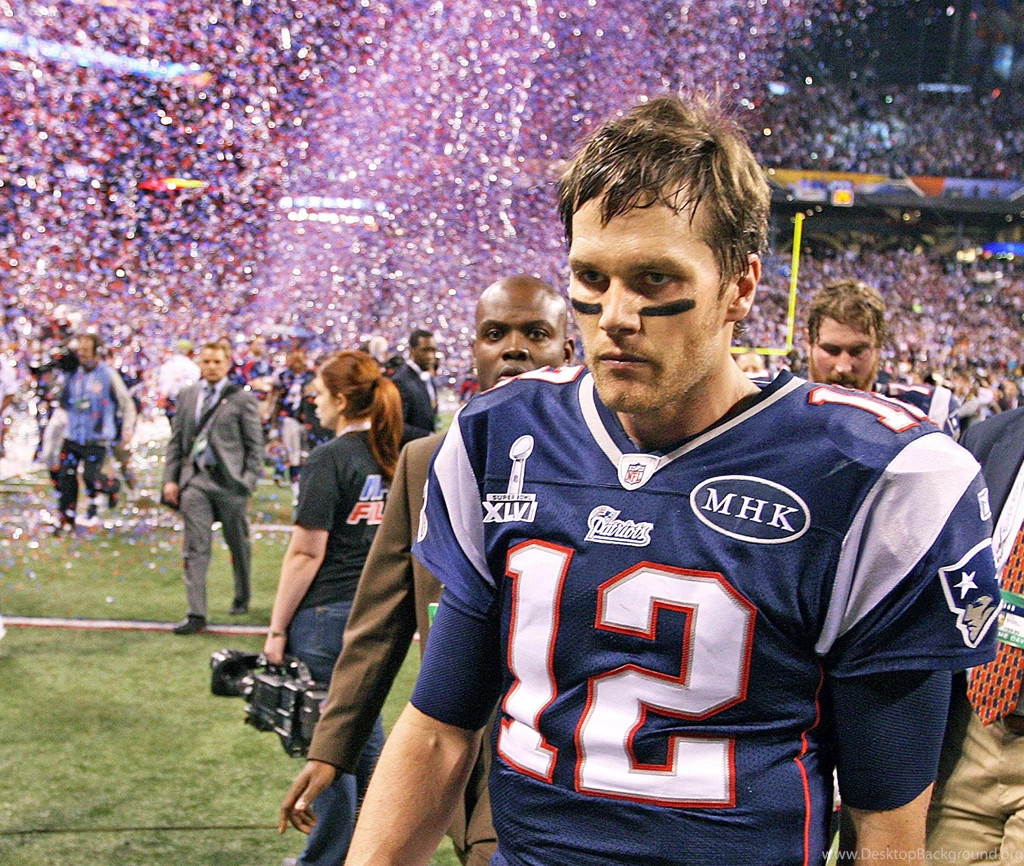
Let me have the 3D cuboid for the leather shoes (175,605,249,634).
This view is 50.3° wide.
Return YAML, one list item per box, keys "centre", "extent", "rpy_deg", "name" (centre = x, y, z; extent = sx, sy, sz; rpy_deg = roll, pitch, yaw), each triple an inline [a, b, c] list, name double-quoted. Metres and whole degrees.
- centre: [-1.730, 1.067, 6.244]
  extent: [0.359, 0.133, 0.107]
  rpy_deg: [-1, -1, -40]
  name: "leather shoes"

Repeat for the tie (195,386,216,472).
- centre: [-1.766, -0.028, 6.218]
  extent: [0.105, 0.371, 0.289]
  rpy_deg: [5, -2, -22]
  name: "tie"
